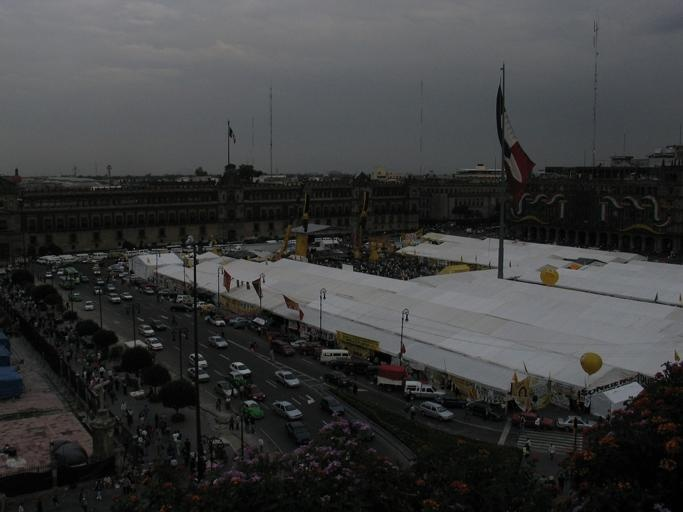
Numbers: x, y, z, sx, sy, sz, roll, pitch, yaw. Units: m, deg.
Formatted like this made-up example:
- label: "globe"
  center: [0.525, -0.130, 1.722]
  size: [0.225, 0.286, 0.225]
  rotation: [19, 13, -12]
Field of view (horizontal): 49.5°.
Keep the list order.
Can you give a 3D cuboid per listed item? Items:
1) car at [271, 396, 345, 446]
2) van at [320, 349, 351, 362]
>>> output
- label: "car"
  center: [-3.896, 11.121, 53.600]
  size: [1.223, 1.045, 2.781]
  rotation: [0, 6, -41]
- label: "van"
  center: [-0.519, 8.593, 63.339]
  size: [1.842, 1.084, 1.179]
  rotation: [-2, -3, 6]
